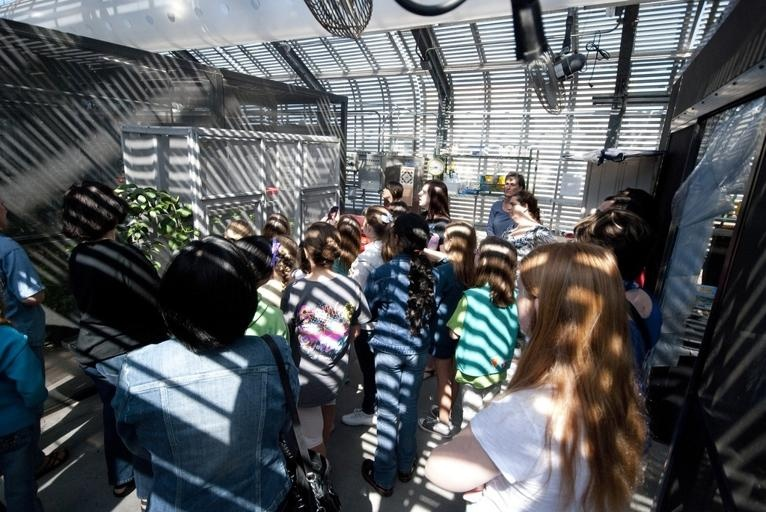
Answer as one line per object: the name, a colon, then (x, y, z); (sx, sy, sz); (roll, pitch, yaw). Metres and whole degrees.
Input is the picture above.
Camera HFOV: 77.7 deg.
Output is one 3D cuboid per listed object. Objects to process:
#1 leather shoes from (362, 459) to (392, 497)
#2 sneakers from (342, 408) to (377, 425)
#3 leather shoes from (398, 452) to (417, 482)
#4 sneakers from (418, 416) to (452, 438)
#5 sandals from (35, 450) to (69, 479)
leather shoes: (-0.095, 2.132, 4.614); (0.165, 0.170, 0.399); (-18, 41, -33)
sneakers: (-0.260, 1.768, 5.329); (0.401, 0.167, 0.145); (4, 6, -4)
leather shoes: (0.258, 2.099, 4.655); (0.127, 0.132, 0.315); (6, 34, 12)
sneakers: (0.577, 1.846, 5.232); (0.364, 0.145, 0.159); (15, 21, 33)
sandals: (-3.276, 2.013, 4.669); (0.070, 0.292, 0.105); (-31, -69, 26)
